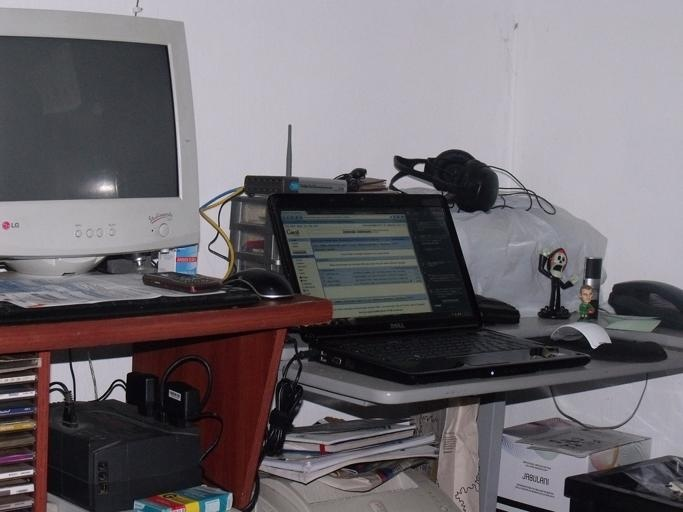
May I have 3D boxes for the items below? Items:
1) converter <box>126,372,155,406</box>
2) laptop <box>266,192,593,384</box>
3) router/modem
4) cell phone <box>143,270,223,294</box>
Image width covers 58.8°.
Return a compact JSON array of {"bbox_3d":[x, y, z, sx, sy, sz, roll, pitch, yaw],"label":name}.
[{"bbox_3d":[-0.406,0.273,1.208,0.076,0.062,0.039,15,-31,-42],"label":"converter"},{"bbox_3d":[0.167,0.042,1.264,0.505,0.345,0.447,-4,7,-27],"label":"laptop"},{"bbox_3d":[-0.130,-0.239,1.574,0.208,0.151,0.193,-8,14,-39],"label":"router/modem"},{"bbox_3d":[-0.295,0.039,1.090,0.133,0.031,0.129,8,8,44],"label":"cell phone"}]
